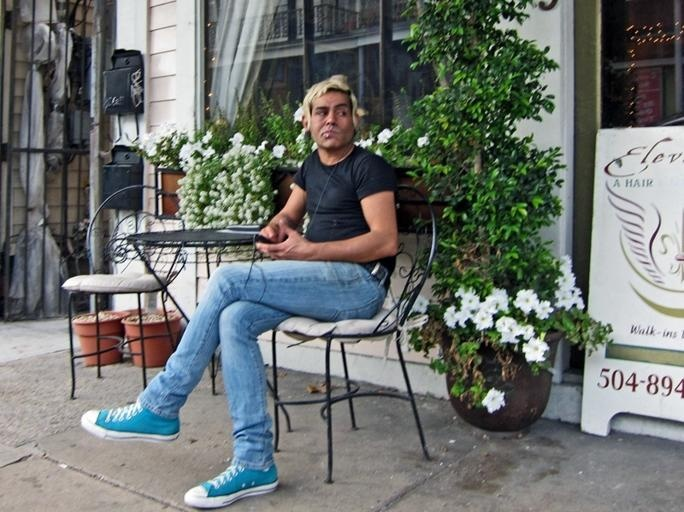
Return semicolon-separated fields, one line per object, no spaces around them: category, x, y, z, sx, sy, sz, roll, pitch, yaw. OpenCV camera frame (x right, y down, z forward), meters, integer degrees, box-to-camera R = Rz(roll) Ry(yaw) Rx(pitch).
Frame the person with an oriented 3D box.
person;-0.404;0.136;4.244;1.431;2.167;0.593;-3;5;-24

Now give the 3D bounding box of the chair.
chair;-0.283;0.293;4.610;1.592;1.727;1.425;1;1;16

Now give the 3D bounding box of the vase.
vase;0.908;0.671;4.487;0.517;0.494;0.576;-4;5;-4

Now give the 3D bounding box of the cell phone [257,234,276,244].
cell phone;-0.415;-0.086;4.263;0.063;0.027;0.051;20;-11;25

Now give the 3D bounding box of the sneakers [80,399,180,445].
sneakers;-1.083;0.865;4.228;0.530;0.276;0.205;8;-2;-1

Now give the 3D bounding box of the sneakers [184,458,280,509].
sneakers;-0.541;1.153;4.109;0.519;0.274;0.188;-4;6;-24
